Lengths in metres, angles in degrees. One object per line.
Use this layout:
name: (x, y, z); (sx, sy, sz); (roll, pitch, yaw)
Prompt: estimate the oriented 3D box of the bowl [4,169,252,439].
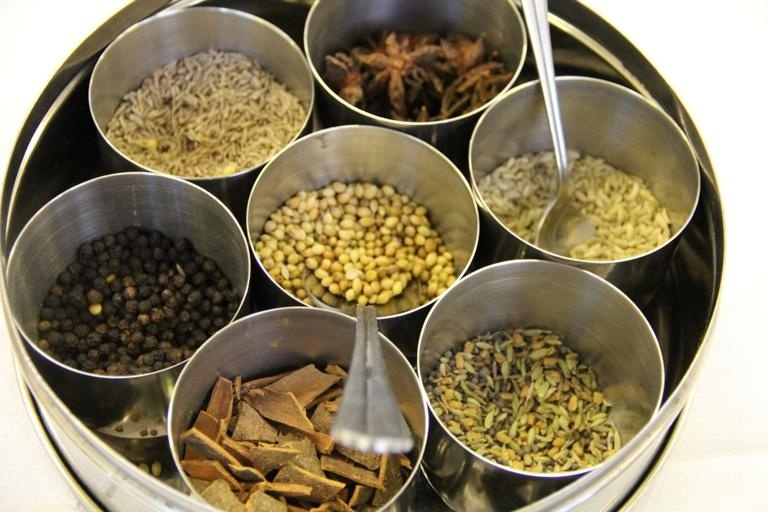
bowl: (-0.785, 0.174, 2.184); (0.602, 0.424, 0.761); (-1, 70, -9)
